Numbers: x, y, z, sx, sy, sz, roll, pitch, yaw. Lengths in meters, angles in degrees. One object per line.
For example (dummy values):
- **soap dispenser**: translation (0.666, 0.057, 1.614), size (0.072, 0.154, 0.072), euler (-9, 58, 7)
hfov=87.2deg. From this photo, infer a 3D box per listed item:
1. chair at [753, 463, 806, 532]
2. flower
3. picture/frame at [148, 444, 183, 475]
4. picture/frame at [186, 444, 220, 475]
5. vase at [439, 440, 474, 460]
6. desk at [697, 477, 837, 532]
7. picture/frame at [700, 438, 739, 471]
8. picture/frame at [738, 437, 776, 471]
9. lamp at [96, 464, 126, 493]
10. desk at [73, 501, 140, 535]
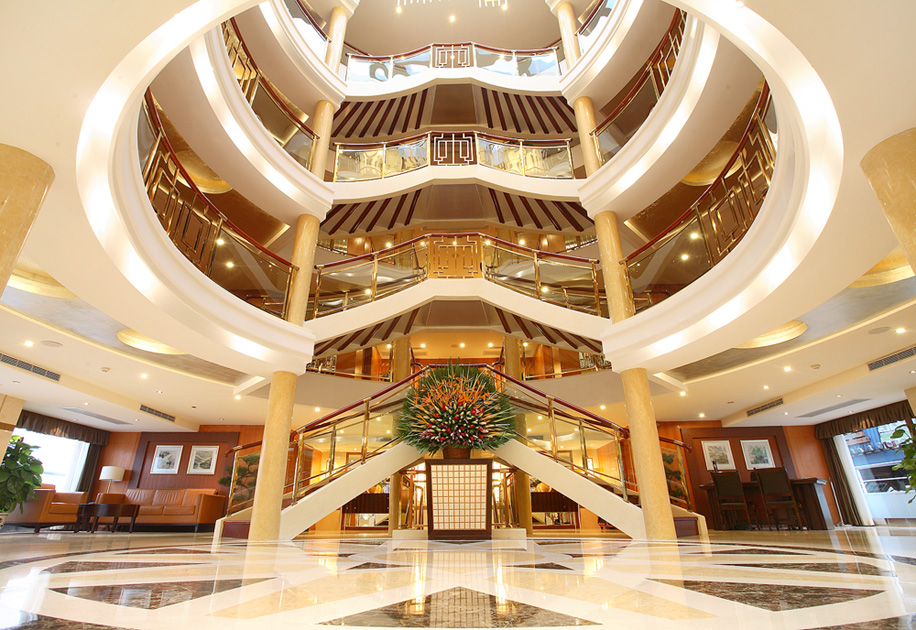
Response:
- **chair**: translation (5.388, 3.104, 8.094), size (0.885, 1.137, 0.742), euler (24, -33, -32)
- **flower**: translation (-0.061, 1.226, 6.359), size (1.507, 0.702, 1.415), euler (-12, 12, -15)
- **picture/frame**: translation (-6.279, 3.129, 10.380), size (0.782, 0.719, 0.051), euler (1, -31, -5)
- **picture/frame**: translation (-5.451, 3.121, 10.332), size (0.745, 0.713, 0.055), euler (1, -28, -6)
- **vase**: translation (-0.006, 1.678, 5.971), size (0.287, 0.154, 0.261), euler (0, -21, 3)
- **desk**: translation (5.347, 3.195, 8.392), size (1.189, 0.917, 1.765), euler (18, -29, -42)
- **picture/frame**: translation (5.411, 2.927, 10.028), size (0.770, 0.672, 0.025), euler (3, -28, -6)
- **picture/frame**: translation (6.202, 2.909, 10.023), size (0.857, 0.741, 0.055), euler (0, -19, -4)
- **lamp**: translation (-7.305, 3.466, 10.158), size (0.406, 0.565, 0.372), euler (-19, -40, 5)
- **desk**: translation (-6.260, 3.616, 8.601), size (0.924, 0.493, 1.182), euler (16, -32, -26)
